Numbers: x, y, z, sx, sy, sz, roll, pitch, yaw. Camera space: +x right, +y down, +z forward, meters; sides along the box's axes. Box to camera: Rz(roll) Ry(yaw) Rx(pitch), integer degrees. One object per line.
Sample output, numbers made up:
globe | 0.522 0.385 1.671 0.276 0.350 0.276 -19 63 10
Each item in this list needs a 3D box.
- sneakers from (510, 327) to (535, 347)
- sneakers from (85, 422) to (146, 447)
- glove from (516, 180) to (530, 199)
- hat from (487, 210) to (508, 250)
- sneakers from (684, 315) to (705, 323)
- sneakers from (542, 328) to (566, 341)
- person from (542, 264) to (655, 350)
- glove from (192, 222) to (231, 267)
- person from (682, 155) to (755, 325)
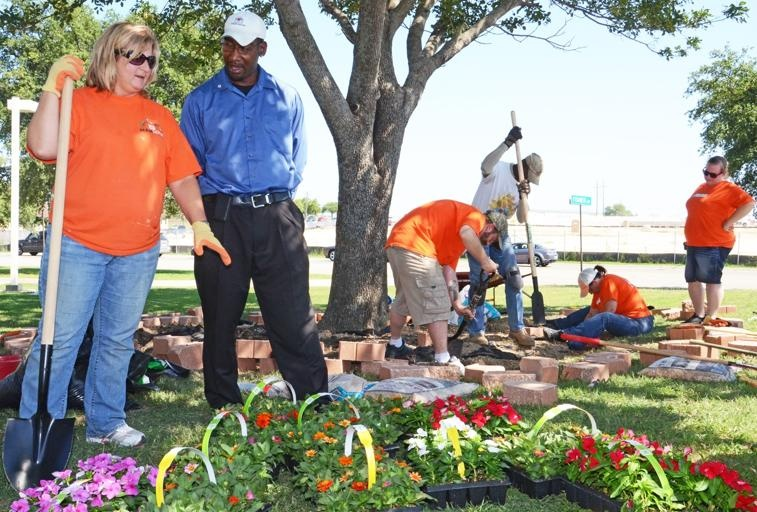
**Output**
sneakers | 1.786 0.988 8.351 0.155 0.141 0.350 -1 4 -31
sneakers | -1.936 1.305 5.033 0.426 0.174 0.163 0 -6 2
glove | 1.919 -0.877 8.909 0.235 0.294 0.094 1 -14 -7
hat | 1.284 -0.290 7.559 0.227 0.409 0.297 -18 -7 19
sneakers | 4.391 0.853 9.331 0.230 0.106 0.255 1 -2 26
sneakers | 2.241 0.986 8.626 0.235 0.144 0.289 1 -2 13
person | 3.051 0.653 8.926 1.541 1.024 1.097 -2 -2 6
glove | -1.312 -0.080 5.172 0.263 0.347 0.131 -37 2 -27
person | 4.703 -0.246 9.396 0.789 2.325 0.809 2 -1 4
